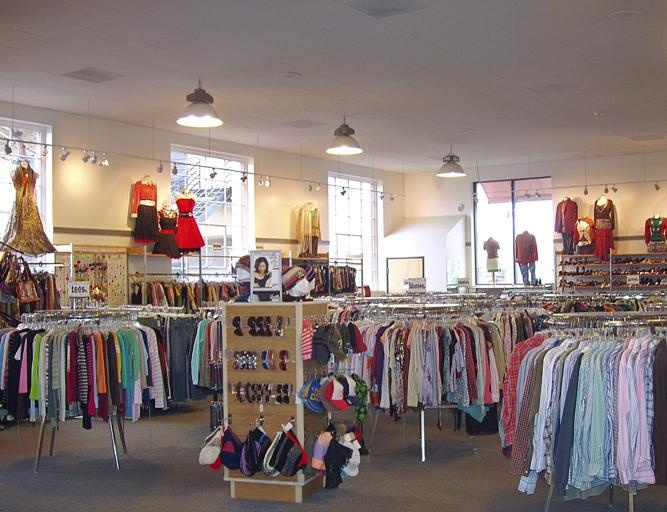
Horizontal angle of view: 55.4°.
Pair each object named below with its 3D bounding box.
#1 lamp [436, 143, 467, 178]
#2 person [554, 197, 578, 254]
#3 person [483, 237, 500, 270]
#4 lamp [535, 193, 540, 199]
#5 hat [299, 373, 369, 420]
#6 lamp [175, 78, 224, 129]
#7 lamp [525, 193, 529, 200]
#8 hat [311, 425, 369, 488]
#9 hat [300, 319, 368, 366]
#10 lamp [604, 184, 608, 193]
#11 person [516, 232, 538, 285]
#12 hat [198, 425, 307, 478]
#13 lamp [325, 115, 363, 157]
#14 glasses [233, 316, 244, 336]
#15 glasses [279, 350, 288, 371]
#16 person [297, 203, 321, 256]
[{"bbox_3d":[2.165,-1.747,11.690,0.523,0.591,0.521,1,1,22],"label":"lamp"},{"bbox_3d":[5.717,-0.717,15.579,0.534,1.401,0.337,-1,1,34],"label":"person"},{"bbox_3d":[4.221,-0.044,16.771,0.422,0.606,0.753,-1,1,6],"label":"person"},{"bbox_3d":[5.206,-1.497,16.204,0.043,0.164,0.110,-11,-10,43],"label":"lamp"},{"bbox_3d":[0.009,1.130,5.233,0.305,0.207,0.473,2,-4,-24],"label":"hat"},{"bbox_3d":[-1.606,-1.791,7.605,0.498,0.494,0.314,-1,1,-6],"label":"lamp"},{"bbox_3d":[5.021,-1.537,16.490,0.126,0.190,0.169,-4,5,0],"label":"lamp"},{"bbox_3d":[0.021,1.666,5.301,0.419,0.414,0.197,-1,1,-12],"label":"hat"},{"bbox_3d":[-0.032,0.708,5.327,0.326,0.257,0.491,-2,-2,8],"label":"hat"},{"bbox_3d":[6.407,-1.543,14.857,0.057,0.240,0.159,-1,12,17],"label":"lamp"},{"bbox_3d":[5.002,0.056,16.486,0.543,1.370,0.543,-2,1,-34],"label":"person"},{"bbox_3d":[-0.634,1.630,5.292,0.557,0.357,0.274,-1,-4,23],"label":"hat"},{"bbox_3d":[0.159,-1.737,9.165,0.537,0.596,0.526,1,-4,-24],"label":"lamp"},{"bbox_3d":[-0.822,0.598,5.414,0.084,0.158,0.045,-1,-4,13],"label":"glasses"},{"bbox_3d":[-0.418,0.877,5.314,0.074,0.156,0.051,0,1,24],"label":"glasses"},{"bbox_3d":[-0.555,-0.606,14.778,0.616,0.983,0.280,-2,1,-44],"label":"person"}]
